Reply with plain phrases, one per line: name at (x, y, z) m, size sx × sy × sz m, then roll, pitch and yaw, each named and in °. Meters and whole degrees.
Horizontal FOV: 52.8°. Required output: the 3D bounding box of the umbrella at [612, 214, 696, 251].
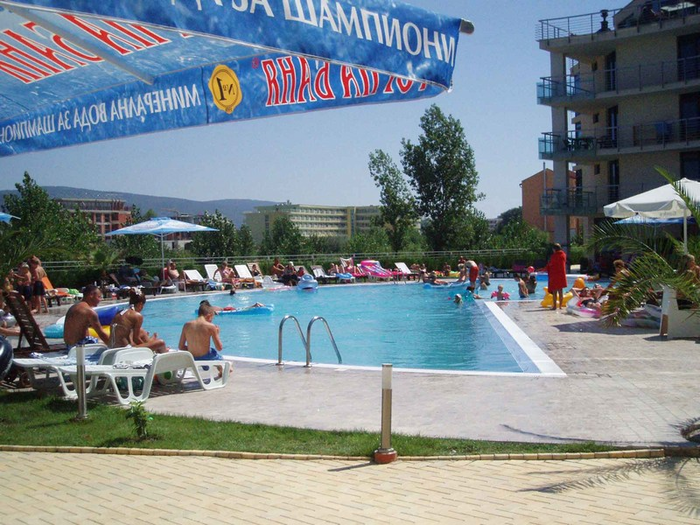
umbrella at (5.883, -0.663, 13.788) m, size 1.620 × 0.559 × 1.190 m, roll -3°, pitch 6°, yaw -29°

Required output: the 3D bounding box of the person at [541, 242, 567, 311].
person at (5.654, 0.372, 19.524) m, size 0.491 × 1.854 × 1.525 m, roll 0°, pitch 4°, yaw 15°

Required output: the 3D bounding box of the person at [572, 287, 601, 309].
person at (6.184, 0.895, 18.453) m, size 0.753 × 0.412 × 0.940 m, roll 1°, pitch -1°, yaw 28°

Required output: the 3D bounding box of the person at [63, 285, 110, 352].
person at (-4.154, 0.914, 11.359) m, size 0.832 × 1.110 × 0.815 m, roll 2°, pitch -4°, yaw -12°

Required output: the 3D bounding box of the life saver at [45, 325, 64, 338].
life saver at (-6.572, 1.520, 15.622) m, size 0.288 × 0.258 × 0.690 m, roll -4°, pitch 5°, yaw -42°

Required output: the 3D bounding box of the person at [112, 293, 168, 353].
person at (-3.355, 0.926, 11.066) m, size 0.758 × 0.890 × 0.977 m, roll -3°, pitch 4°, yaw -31°

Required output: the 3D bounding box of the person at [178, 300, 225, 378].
person at (-2.279, 1.191, 11.244) m, size 0.565 × 1.296 × 0.775 m, roll 3°, pitch 8°, yaw 18°
